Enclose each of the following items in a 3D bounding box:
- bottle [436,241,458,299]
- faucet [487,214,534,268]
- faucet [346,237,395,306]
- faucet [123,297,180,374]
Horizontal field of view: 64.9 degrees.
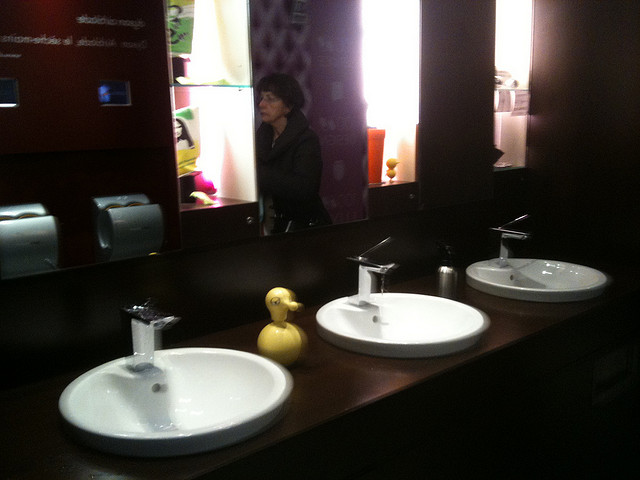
[{"bbox_3d":[0.476,0.114,1.890,0.072,0.200,0.125,1,14,13],"label":"bottle"},{"bbox_3d":[0.788,-0.001,2.073,0.105,0.216,0.164,-14,15,-30],"label":"faucet"},{"bbox_3d":[0.181,0.110,1.686,0.160,0.227,0.073,6,7,35],"label":"faucet"},{"bbox_3d":[-0.421,0.254,1.351,0.184,0.215,0.113,7,10,43],"label":"faucet"}]
